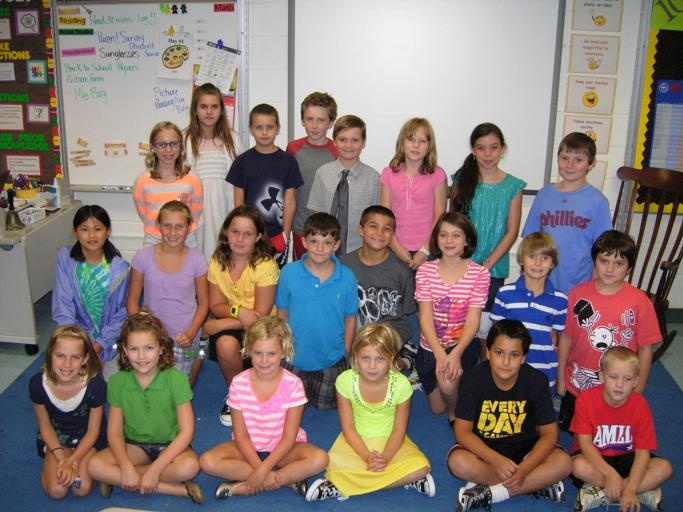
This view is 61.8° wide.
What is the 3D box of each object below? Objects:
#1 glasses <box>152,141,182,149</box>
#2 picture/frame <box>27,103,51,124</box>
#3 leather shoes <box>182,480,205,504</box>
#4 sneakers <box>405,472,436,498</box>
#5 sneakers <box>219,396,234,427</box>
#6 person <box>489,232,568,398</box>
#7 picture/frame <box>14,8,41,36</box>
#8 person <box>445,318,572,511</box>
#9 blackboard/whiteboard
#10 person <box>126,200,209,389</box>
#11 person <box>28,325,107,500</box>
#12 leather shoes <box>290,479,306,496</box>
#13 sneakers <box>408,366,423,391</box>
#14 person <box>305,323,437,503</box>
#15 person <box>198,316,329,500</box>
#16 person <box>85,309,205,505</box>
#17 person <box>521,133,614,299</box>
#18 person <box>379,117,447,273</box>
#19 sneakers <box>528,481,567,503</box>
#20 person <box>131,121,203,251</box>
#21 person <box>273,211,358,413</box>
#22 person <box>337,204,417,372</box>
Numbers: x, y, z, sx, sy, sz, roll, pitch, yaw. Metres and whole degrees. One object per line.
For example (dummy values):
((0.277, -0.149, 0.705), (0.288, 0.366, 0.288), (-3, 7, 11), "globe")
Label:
((-1.268, -0.802, 4.084), (0.202, 0.067, 0.081), (-6, 16, -28), "glasses")
((-2.750, -1.291, 5.100), (0.146, 0.154, 0.015), (3, 8, -8), "picture/frame")
((-0.821, 1.288, 3.117), (0.127, 0.075, 0.054), (25, -3, 12), "leather shoes")
((0.453, 1.287, 3.236), (0.102, 0.084, 0.231), (-10, -7, -5), "sneakers")
((-0.754, 1.019, 3.654), (0.100, 0.108, 0.273), (5, 20, -10), "sneakers")
((1.250, 0.470, 3.749), (0.536, 1.266, 0.311), (0, 19, 6), "person")
((-2.763, -2.049, 4.945), (0.195, 0.206, 0.020), (7, 16, 4), "picture/frame")
((0.898, 0.952, 3.392), (0.817, 1.172, 0.909), (-2, 22, 6), "person")
((-1.592, -1.422, 4.789), (1.681, 1.925, 0.069), (3, 20, 4), "blackboard/whiteboard")
((-1.205, 0.458, 3.888), (0.516, 1.589, 0.495), (2, 15, -18), "person")
((-1.524, 0.850, 3.162), (0.386, 0.886, 0.386), (-7, 16, -28), "person")
((-0.240, 1.290, 3.176), (0.045, 0.055, 0.132), (-17, 20, -35), "leather shoes")
((0.521, 0.879, 4.026), (0.078, 0.103, 0.235), (-3, 1, 4), "sneakers")
((0.105, 0.872, 3.187), (0.688, 0.846, 0.684), (-4, 15, -13), "person")
((-0.442, 0.836, 3.165), (0.647, 0.894, 0.660), (10, 13, 43), "person")
((-1.064, 0.824, 3.184), (0.636, 0.954, 0.568), (-1, 9, -1), "person")
((1.619, -0.280, 4.062), (0.622, 1.243, 0.334), (9, 38, 27), "person")
((0.505, -0.166, 4.335), (0.504, 1.743, 0.451), (4, 25, 9), "person")
((1.145, 1.303, 3.146), (0.129, 0.064, 0.182), (-35, 18, -30), "sneakers")
((-1.310, -0.396, 4.247), (0.474, 1.127, 0.275), (-3, 16, -18), "person")
((-0.177, 0.485, 3.741), (0.533, 1.538, 0.511), (3, 12, -2), "person")
((0.184, 0.214, 3.834), (0.705, 1.095, 0.594), (3, 15, -2), "person")
